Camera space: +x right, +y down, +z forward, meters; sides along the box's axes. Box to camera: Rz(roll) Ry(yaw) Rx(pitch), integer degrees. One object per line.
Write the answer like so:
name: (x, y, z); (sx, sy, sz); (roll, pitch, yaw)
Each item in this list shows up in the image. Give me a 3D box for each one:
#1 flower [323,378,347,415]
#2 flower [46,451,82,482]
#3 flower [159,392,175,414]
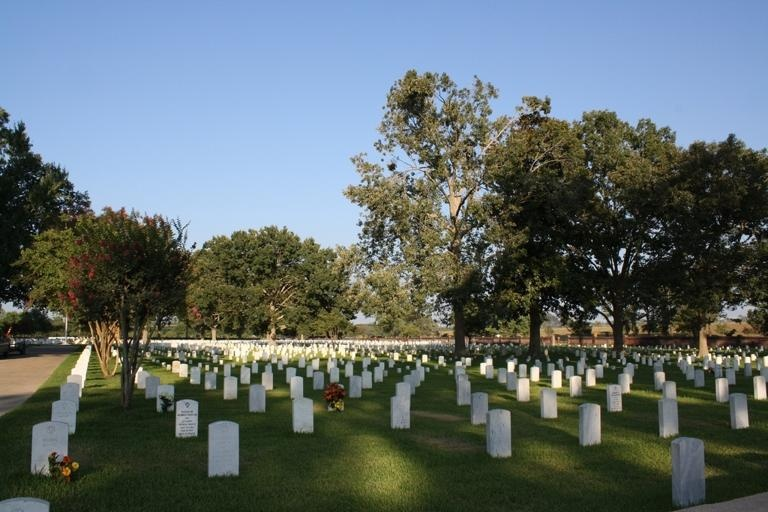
flower: (-1.980, 5.740, 25.902); (1.122, 1.199, 1.025); (2, -10, -14)
flower: (-8.859, 5.894, 17.821); (0.840, 0.736, 0.791); (1, 5, -1)
flower: (-8.373, 5.693, 24.695); (0.566, 0.652, 0.665); (4, -6, -22)
